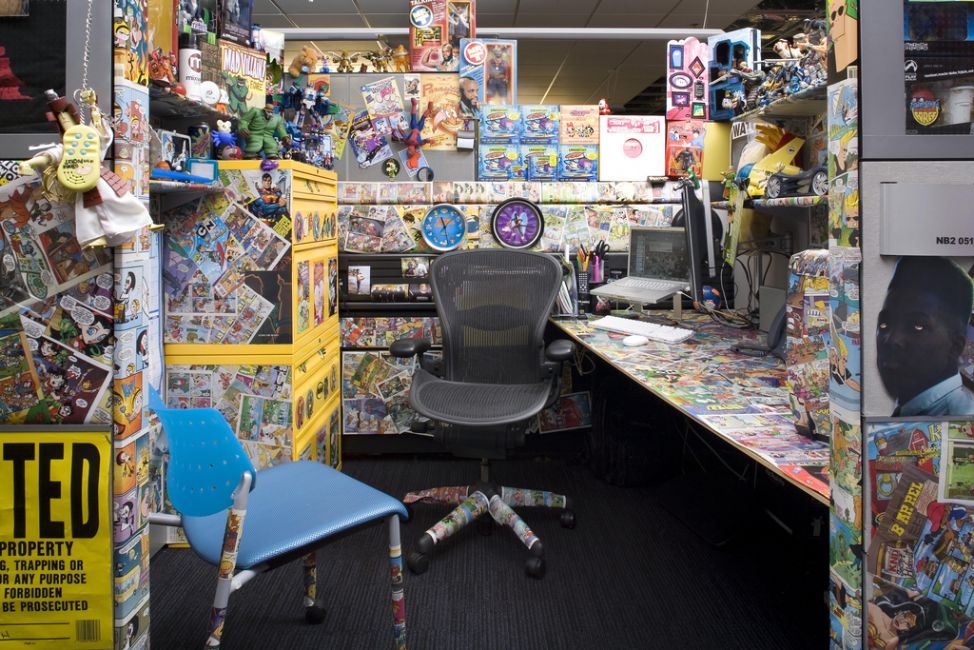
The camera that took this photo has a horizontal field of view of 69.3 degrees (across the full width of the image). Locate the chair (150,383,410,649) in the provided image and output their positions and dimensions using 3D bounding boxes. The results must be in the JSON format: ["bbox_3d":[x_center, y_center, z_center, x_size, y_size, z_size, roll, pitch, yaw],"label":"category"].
[{"bbox_3d":[-0.594,0.532,2.030,0.605,0.821,0.535,-11,17,-38],"label":"chair"}]

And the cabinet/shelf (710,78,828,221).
[{"bbox_3d":[1.201,-0.734,3.046,0.375,0.489,1.464,2,13,11],"label":"cabinet/shelf"}]

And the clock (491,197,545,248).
[{"bbox_3d":[0.157,-0.543,3.729,0.292,0.261,0.072,-1,13,-1],"label":"clock"}]

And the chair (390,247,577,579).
[{"bbox_3d":[-0.035,0.296,2.974,0.770,1.158,0.824,3,9,19],"label":"chair"}]

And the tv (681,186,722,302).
[{"bbox_3d":[0.957,-0.406,3.233,0.132,0.614,0.216,-1,8,38],"label":"tv"}]

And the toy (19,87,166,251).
[{"bbox_3d":[-1.020,-0.411,1.801,0.214,0.326,0.266,-4,24,3],"label":"toy"}]

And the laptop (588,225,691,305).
[{"bbox_3d":[0.734,-0.300,3.366,0.296,0.327,0.378,-16,18,-38],"label":"laptop"}]

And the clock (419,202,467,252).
[{"bbox_3d":[-0.232,-0.517,3.725,0.238,0.249,0.076,-1,13,-4],"label":"clock"}]
